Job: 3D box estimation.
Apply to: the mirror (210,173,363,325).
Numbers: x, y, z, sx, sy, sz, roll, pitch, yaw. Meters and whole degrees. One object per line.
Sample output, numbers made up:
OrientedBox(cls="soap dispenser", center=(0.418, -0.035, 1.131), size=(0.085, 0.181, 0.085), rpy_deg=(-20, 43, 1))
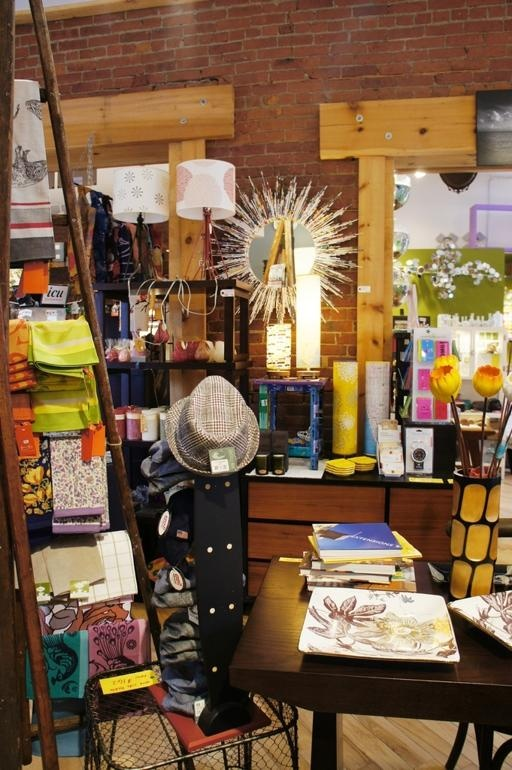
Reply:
OrientedBox(cls="mirror", center=(0.198, -0.738, 3.341), size=(0.886, 0.882, 0.052), rpy_deg=(1, 1, 8))

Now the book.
OrientedBox(cls="book", center=(0.228, 0.372, 1.383), size=(0.171, 0.058, 0.164), rpy_deg=(1, 10, 0))

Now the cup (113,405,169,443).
OrientedBox(cls="cup", center=(-0.618, 0.202, 3.327), size=(0.218, 0.138, 0.220), rpy_deg=(0, 1, 0))

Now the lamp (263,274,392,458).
OrientedBox(cls="lamp", center=(0.352, -0.083, 3.134), size=(0.599, 0.930, 0.455), rpy_deg=(-4, 11, -1))

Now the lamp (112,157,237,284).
OrientedBox(cls="lamp", center=(-0.424, -0.868, 3.331), size=(0.906, 0.730, 0.365), rpy_deg=(0, 1, 4))

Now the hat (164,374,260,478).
OrientedBox(cls="hat", center=(-0.110, 0.106, 1.568), size=(0.195, 0.265, 0.098), rpy_deg=(-4, -33, -8))
